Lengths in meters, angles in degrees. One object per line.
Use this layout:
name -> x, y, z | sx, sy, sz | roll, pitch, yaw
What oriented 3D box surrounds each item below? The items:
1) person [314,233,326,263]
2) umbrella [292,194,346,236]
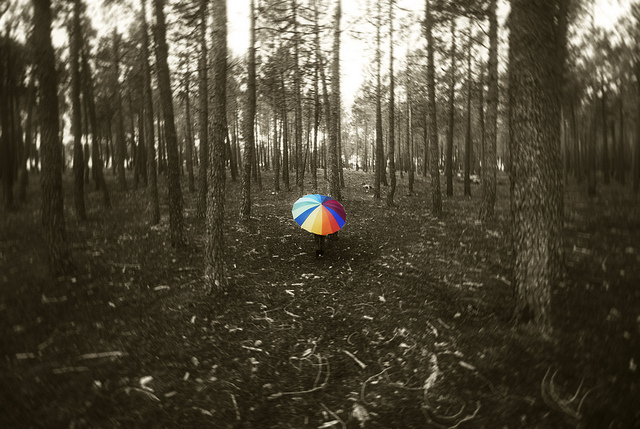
person -> -0.009, 1.101, 20.550 | 0.277, 0.873, 0.591 | 0, 8, -1
umbrella -> -0.019, 0.116, 19.969 | 1.637, 1.348, 1.034 | 0, 8, -1
